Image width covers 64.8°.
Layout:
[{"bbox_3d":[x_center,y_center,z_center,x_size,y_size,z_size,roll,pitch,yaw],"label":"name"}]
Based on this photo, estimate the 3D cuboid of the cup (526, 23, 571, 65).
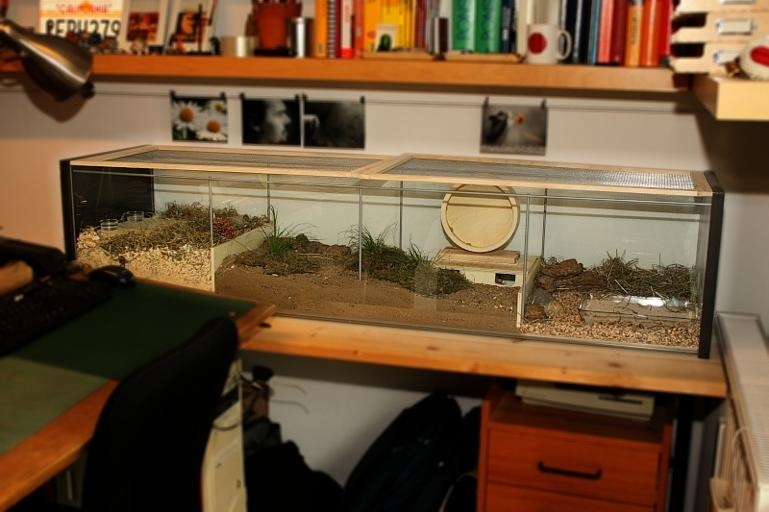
[{"bbox_3d":[0.576,-0.755,2.161,0.185,0.135,0.118,12,21,23],"label":"cup"}]
